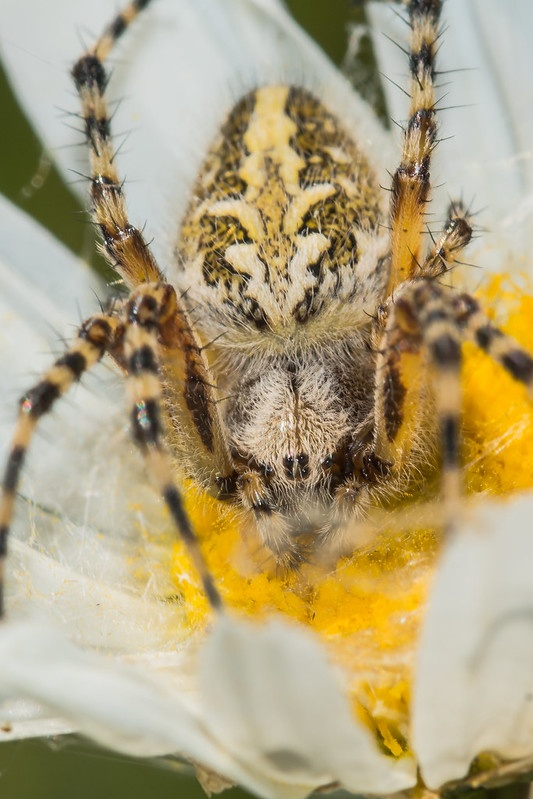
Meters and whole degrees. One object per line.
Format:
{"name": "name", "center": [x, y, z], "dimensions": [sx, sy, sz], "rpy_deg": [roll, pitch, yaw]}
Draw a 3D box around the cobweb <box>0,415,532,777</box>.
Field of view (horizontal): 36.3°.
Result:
{"name": "cobweb", "center": [-0.007, 0.170, 0.639], "dimensions": [0.337, 0.311, 0.115], "rpy_deg": [-6, 84, 35]}
